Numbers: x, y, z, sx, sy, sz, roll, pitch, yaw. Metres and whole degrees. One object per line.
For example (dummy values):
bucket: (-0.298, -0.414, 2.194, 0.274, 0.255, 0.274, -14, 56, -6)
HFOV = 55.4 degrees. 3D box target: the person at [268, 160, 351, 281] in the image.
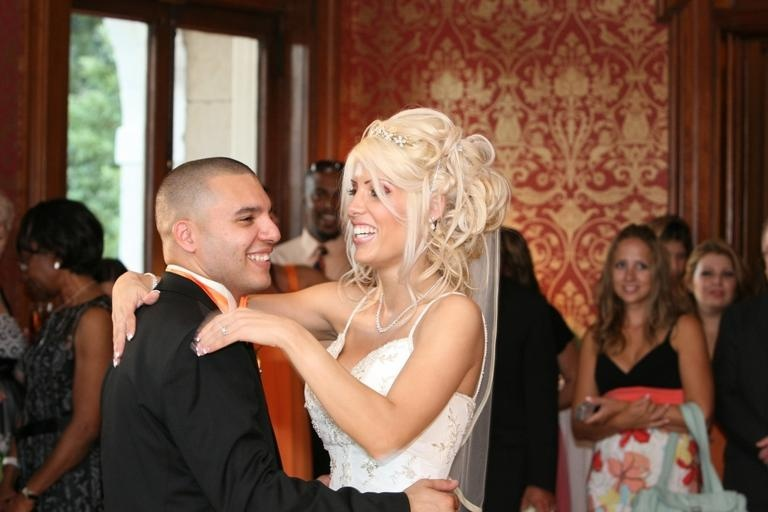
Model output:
person: (-0.513, -0.207, 5.572, 0.344, 0.967, 0.698, 6, -5, -19)
